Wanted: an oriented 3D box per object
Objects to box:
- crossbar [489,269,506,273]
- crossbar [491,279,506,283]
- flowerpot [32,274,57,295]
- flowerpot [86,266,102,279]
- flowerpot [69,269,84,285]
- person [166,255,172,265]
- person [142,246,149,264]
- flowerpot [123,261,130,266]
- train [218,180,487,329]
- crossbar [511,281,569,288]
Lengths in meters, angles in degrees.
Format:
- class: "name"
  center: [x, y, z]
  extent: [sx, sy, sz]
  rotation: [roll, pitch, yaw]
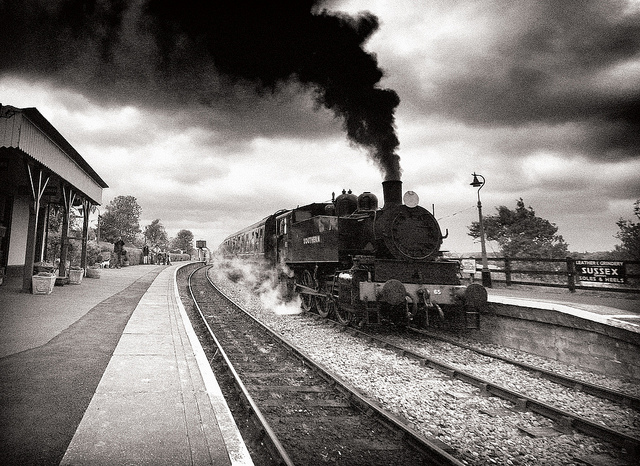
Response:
- class: "crossbar"
  center: [6.272, 1.310, 14.279]
  extent: [0.502, 0.116, 0.548]
  rotation: [-3, -7, 24]
- class: "crossbar"
  center: [6.434, 1.701, 14.590]
  extent: [0.468, 0.120, 0.923]
  rotation: [-3, -7, 24]
- class: "flowerpot"
  center: [-8.194, 1.517, 12.010]
  extent: [0.528, 0.547, 0.619]
  rotation: [-5, -8, 42]
- class: "flowerpot"
  center: [-10.118, 1.727, 17.944]
  extent: [0.527, 0.532, 0.607]
  rotation: [3, -7, -30]
- class: "flowerpot"
  center: [-9.110, 1.594, 15.084]
  extent: [0.427, 0.534, 0.517]
  rotation: [1, -2, -27]
- class: "person"
  center: [-14.135, 2.367, 37.706]
  extent: [0.267, 1.142, 0.670]
  rotation: [-6, -16, -36]
- class: "person"
  center: [-15.724, 1.896, 36.245]
  extent: [0.406, 1.597, 1.162]
  rotation: [0, -5, -10]
- class: "flowerpot"
  center: [-14.277, 2.152, 29.565]
  extent: [0.369, 0.269, 0.381]
  rotation: [4, -8, -18]
- class: "train"
  center: [0.600, 0.675, 12.040]
  extent: [2.422, 3.746, 8.437]
  rotation: [2, -6, -24]
- class: "crossbar"
  center: [7.071, 1.629, 13.112]
  extent: [1.078, 0.179, 1.975]
  rotation: [-1, -6, 8]
